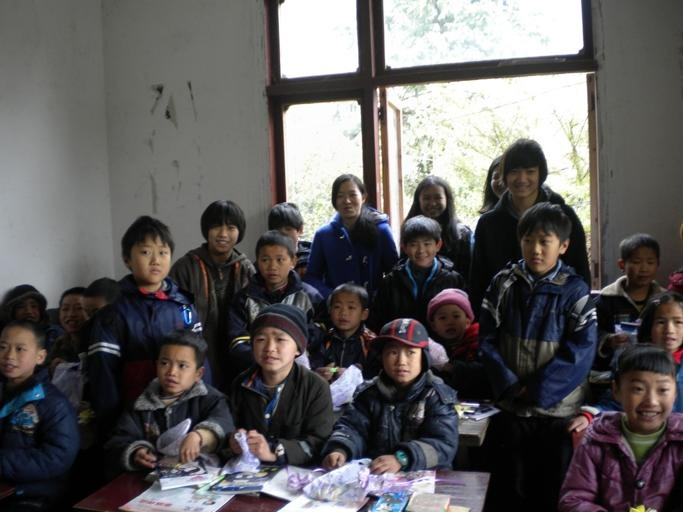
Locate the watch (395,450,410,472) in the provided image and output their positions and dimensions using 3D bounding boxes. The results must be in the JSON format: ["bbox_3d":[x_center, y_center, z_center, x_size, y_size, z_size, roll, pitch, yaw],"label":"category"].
[{"bbox_3d":[0.239,0.810,2.395,0.049,0.063,0.024,8,-37,-26],"label":"watch"}]

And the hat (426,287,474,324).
[{"bbox_3d":[0.595,0.269,3.321,0.187,0.115,0.197,0,-17,-17],"label":"hat"}]
